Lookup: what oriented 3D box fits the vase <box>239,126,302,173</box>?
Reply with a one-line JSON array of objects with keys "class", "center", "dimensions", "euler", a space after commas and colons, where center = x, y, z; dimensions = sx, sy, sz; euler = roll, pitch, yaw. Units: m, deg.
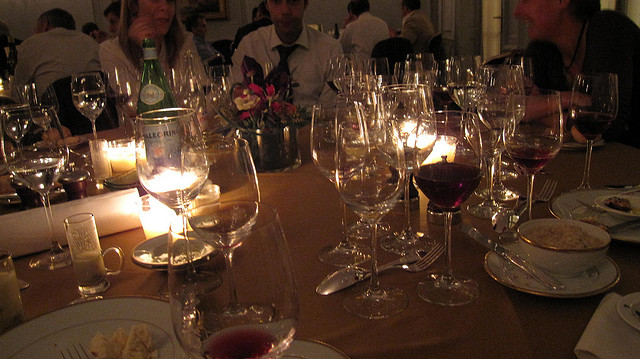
[{"class": "vase", "center": [-0.264, -0.159, 2.309], "dimensions": [0.306, 0.220, 0.305], "euler": [0, 8, 12]}]

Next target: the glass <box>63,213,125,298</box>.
[{"class": "glass", "center": [-0.784, 0.249, 1.621], "dimensions": [0.168, 0.252, 0.172], "euler": [-16, 17, -30]}]

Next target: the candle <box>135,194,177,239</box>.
[{"class": "candle", "center": [-0.611, 0.132, 1.819], "dimensions": [0.159, 0.186, 0.181], "euler": [0, 5, 2]}]

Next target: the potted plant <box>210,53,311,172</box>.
[{"class": "potted plant", "center": [-0.258, -0.281, 2.206], "dimensions": [0.418, 0.456, 0.430], "euler": [-7, 12, -14]}]

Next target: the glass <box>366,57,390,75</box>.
[{"class": "glass", "center": [0.347, -0.694, 2.854], "dimensions": [0.129, 0.124, 0.129], "euler": [-3, 7, -12]}]

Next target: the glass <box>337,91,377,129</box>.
[{"class": "glass", "center": [0.116, -0.254, 1.799], "dimensions": [0.174, 0.170, 0.175], "euler": [-2, 8, -6]}]

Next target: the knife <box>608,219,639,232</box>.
[{"class": "knife", "center": [1.070, 0.163, 1.638], "dimensions": [0.093, 0.013, 0.014], "euler": [-18, -5, -15]}]

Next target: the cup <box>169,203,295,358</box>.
[{"class": "cup", "center": [-0.239, 0.264, 1.255], "dimensions": [0.325, 0.371, 0.238], "euler": [-9, 15, -7]}]

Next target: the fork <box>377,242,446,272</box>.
[{"class": "fork", "center": [0.318, 0.270, 1.609], "dimensions": [0.219, 0.038, 0.035], "euler": [-17, 38, 1]}]

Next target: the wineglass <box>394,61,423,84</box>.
[{"class": "wineglass", "center": [0.500, -0.598, 2.667], "dimensions": [0.144, 0.138, 0.142], "euler": [-13, 16, -38]}]

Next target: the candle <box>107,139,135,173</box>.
[{"class": "candle", "center": [-0.997, -0.118, 2.321], "dimensions": [0.136, 0.151, 0.154], "euler": [4, 12, 11]}]

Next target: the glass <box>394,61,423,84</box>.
[{"class": "glass", "center": [0.508, -0.604, 2.670], "dimensions": [0.137, 0.132, 0.137], "euler": [-5, 11, -15]}]

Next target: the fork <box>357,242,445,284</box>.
[{"class": "fork", "center": [0.277, 0.288, 1.584], "dimensions": [0.285, 0.042, 0.047], "euler": [-19, 34, 0]}]

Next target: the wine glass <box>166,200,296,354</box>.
[{"class": "wine glass", "center": [-0.231, 0.245, 1.381], "dimensions": [0.384, 0.548, 0.379], "euler": [-1, -3, -5]}]

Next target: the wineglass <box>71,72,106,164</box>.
[{"class": "wineglass", "center": [-1.319, -0.423, 2.688], "dimensions": [0.176, 0.378, 0.295], "euler": [-14, 16, -25]}]

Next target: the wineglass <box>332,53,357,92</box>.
[{"class": "wineglass", "center": [0.135, -0.636, 2.811], "dimensions": [0.211, 0.246, 0.215], "euler": [3, 13, 11]}]

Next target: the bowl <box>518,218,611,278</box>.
[{"class": "bowl", "center": [0.818, 0.241, 1.558], "dimensions": [0.269, 0.136, 0.271], "euler": [-6, 16, 2]}]

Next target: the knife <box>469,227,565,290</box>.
[{"class": "knife", "center": [0.632, 0.241, 1.614], "dimensions": [0.085, 0.028, 0.525], "euler": [-21, 27, -10]}]

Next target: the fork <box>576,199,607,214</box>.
[{"class": "fork", "center": [1.013, 0.104, 1.747], "dimensions": [0.018, 0.019, 0.126], "euler": [-6, 27, -16]}]

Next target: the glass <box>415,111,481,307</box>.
[{"class": "glass", "center": [0.412, 0.085, 1.500], "dimensions": [0.204, 0.579, 0.268], "euler": [-2, 15, 19]}]

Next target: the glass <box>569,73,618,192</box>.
[{"class": "glass", "center": [1.104, -0.201, 1.908], "dimensions": [0.153, 0.445, 0.297], "euler": [6, 20, 41]}]

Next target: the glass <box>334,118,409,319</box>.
[{"class": "glass", "center": [0.173, 0.111, 1.562], "dimensions": [0.235, 0.618, 0.241], "euler": [-9, 9, -41]}]
